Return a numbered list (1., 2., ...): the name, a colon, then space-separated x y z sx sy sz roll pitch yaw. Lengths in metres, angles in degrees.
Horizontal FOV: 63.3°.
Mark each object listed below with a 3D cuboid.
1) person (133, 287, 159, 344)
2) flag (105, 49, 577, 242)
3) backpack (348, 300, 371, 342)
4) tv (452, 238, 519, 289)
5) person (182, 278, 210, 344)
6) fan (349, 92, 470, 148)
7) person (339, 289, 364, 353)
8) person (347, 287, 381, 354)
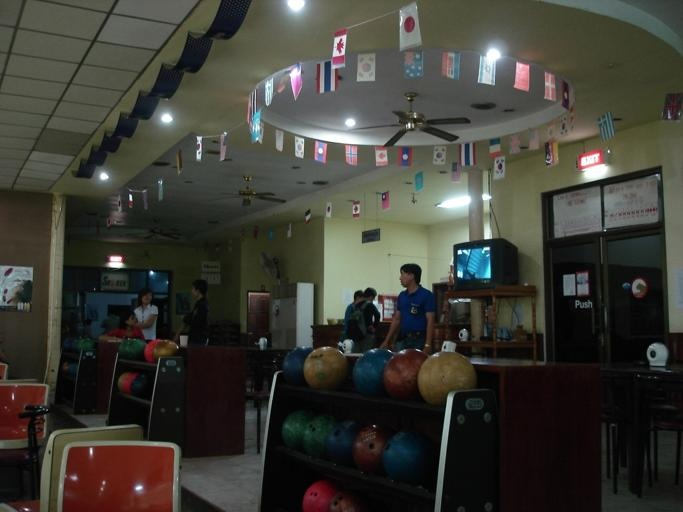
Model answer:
1. person: -3.033 1.127 8.502 0.355 1.203 0.377 4 12 0
2. flag: -1.003 -1.651 10.168 3.873 0.958 10.247 6 -9 -39
3. backpack: 0.301 1.042 8.592 0.348 0.723 0.416 11 -16 -30
4. tv: 2.466 0.156 9.542 1.014 0.821 0.616 -1 -7 15
5. person: -1.930 0.735 7.383 0.312 0.864 1.275 2 -7 -16
6. fan: 1.210 -1.966 7.707 0.906 0.396 1.016 8 -15 -15
7. person: 0.278 1.012 8.771 0.257 0.803 0.511 3 5 -36
8. person: 0.317 1.201 8.763 0.549 1.339 0.403 -6 13 -39
